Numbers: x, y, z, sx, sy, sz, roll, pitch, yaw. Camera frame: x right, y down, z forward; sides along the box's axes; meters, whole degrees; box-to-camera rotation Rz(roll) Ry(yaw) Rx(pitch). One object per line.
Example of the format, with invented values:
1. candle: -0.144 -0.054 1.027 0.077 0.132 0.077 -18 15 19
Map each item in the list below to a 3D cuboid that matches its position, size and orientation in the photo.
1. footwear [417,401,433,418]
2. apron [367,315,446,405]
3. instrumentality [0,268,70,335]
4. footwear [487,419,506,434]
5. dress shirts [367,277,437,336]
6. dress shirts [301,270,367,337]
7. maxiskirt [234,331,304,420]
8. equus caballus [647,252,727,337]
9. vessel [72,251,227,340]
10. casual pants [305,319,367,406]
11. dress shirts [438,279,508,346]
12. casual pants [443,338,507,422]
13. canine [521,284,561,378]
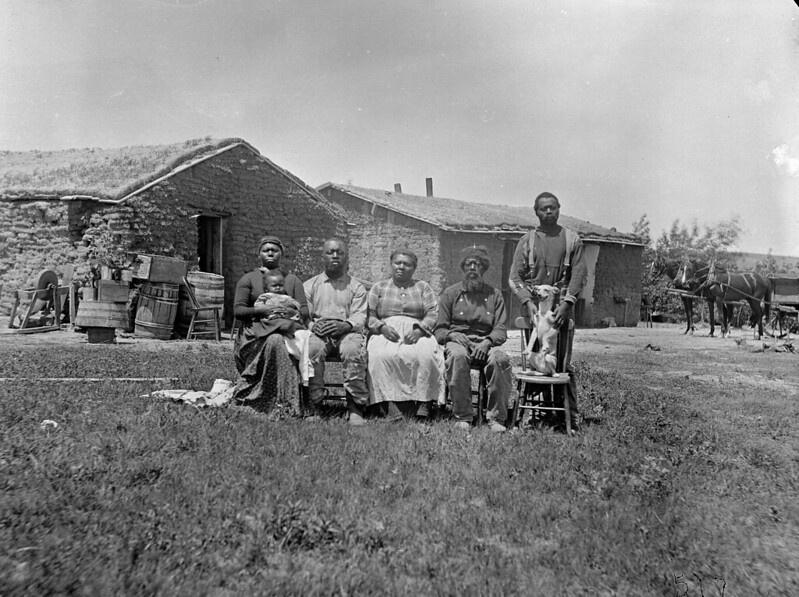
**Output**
1. footwear: 0.229 1.031 5.981 0.123 0.172 0.095 5 -37 14
2. apron: 0.111 0.347 6.393 0.674 0.470 1.229 0 35 9
3. instrumentality: -6.766 0.043 11.805 0.935 1.243 1.300 11 15 41
4. footwear: 0.895 1.152 5.758 0.156 0.070 0.345 4 10 3
5. dress shirts: 0.030 0.077 6.488 0.724 0.753 0.495 1 -16 0
6. dress shirts: -0.595 0.030 6.516 0.798 0.853 0.492 3 -15 -3
7. maxiskirt: -1.155 0.700 6.087 0.844 1.063 0.632 0 -4 -3
8. equus caballus: 9.354 0.009 18.803 2.970 2.238 0.719 8 -6 -30
9. vessel: -4.678 0.014 11.885 1.491 1.087 2.124 0 -1 35
10. casual pants: -0.528 0.613 6.143 0.719 0.964 0.582 0 -7 -3
11. dress shirts: 0.714 0.043 6.313 0.721 0.703 0.558 2 -4 0
12. casual pants: 0.721 0.788 5.958 0.623 0.872 0.633 1 -18 -2
13. canine: 1.293 0.265 5.681 0.291 0.767 0.264 5 9 13
